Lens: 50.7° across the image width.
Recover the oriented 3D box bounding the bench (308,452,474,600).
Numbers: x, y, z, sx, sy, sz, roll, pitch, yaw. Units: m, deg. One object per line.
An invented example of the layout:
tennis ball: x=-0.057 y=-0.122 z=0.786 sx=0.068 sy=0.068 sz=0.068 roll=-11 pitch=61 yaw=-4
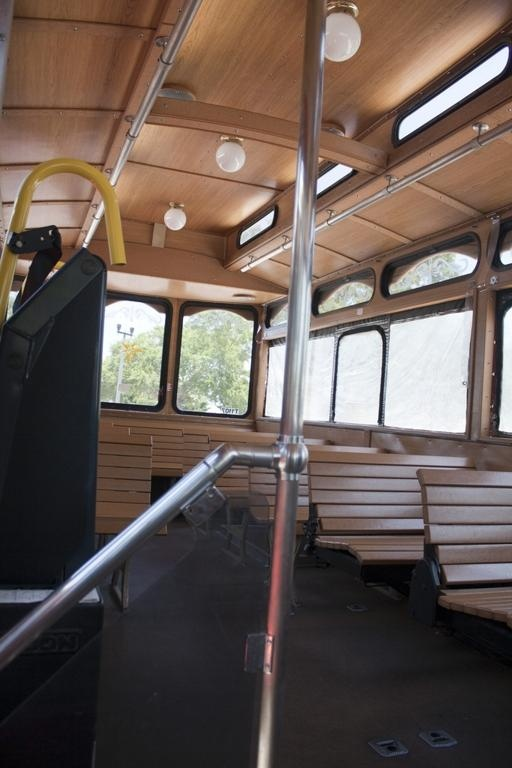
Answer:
bench: x=0.670 y=0.668 z=2.875 sx=1.033 sy=0.538 sz=0.584 roll=5 pitch=-9 yaw=-29

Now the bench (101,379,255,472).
bench: x=-0.781 y=0.469 z=5.658 sx=2.516 sy=0.814 sz=0.819 roll=3 pitch=-6 yaw=0

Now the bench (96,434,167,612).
bench: x=-0.583 y=0.424 z=2.501 sx=0.303 sy=0.319 sz=1.473 roll=6 pitch=-4 yaw=-15
